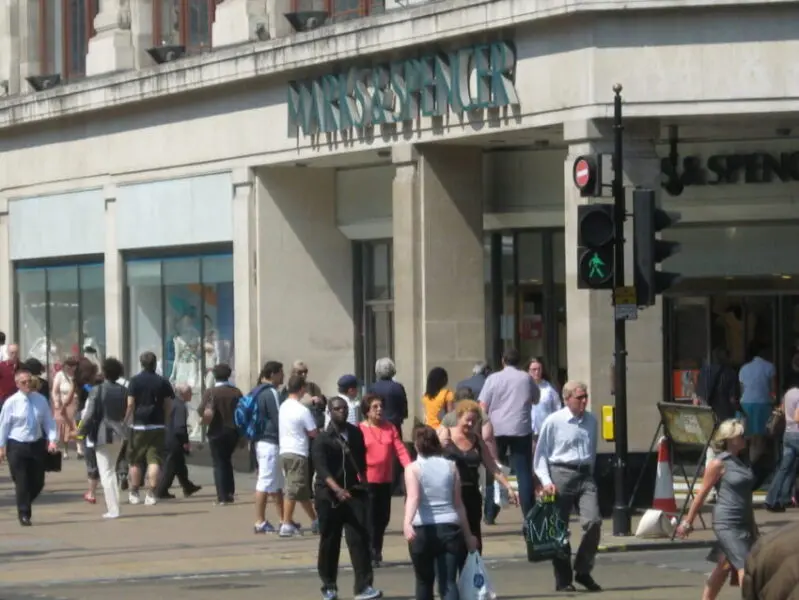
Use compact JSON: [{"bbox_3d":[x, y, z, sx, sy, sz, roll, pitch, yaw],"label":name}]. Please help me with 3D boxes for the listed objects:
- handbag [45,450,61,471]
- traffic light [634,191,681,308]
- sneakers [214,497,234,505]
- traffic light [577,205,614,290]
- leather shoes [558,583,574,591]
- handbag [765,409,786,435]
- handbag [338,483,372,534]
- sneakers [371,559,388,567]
[{"bbox_3d":[-5.216,2.411,30.382,0.239,0.467,0.244,2,18,-12],"label":"handbag"},{"bbox_3d":[3.638,-0.791,28.792,0.665,1.327,0.513,-4,-2,8],"label":"traffic light"},{"bbox_3d":[-2.762,3.203,31.979,0.239,0.112,0.099,7,-3,-3],"label":"sneakers"},{"bbox_3d":[2.770,-0.795,28.553,0.555,0.936,0.508,-4,-2,6],"label":"traffic light"},{"bbox_3d":[2.127,3.723,25.960,0.206,0.097,0.085,-2,-3,-6],"label":"leather shoes"},{"bbox_3d":[6.023,1.942,32.530,0.256,0.462,0.444,21,3,4],"label":"handbag"},{"bbox_3d":[-0.595,2.675,25.850,0.402,0.912,0.330,-11,-44,8],"label":"handbag"},{"bbox_3d":[-0.307,3.599,27.350,0.141,0.104,0.114,0,2,-38],"label":"sneakers"}]
